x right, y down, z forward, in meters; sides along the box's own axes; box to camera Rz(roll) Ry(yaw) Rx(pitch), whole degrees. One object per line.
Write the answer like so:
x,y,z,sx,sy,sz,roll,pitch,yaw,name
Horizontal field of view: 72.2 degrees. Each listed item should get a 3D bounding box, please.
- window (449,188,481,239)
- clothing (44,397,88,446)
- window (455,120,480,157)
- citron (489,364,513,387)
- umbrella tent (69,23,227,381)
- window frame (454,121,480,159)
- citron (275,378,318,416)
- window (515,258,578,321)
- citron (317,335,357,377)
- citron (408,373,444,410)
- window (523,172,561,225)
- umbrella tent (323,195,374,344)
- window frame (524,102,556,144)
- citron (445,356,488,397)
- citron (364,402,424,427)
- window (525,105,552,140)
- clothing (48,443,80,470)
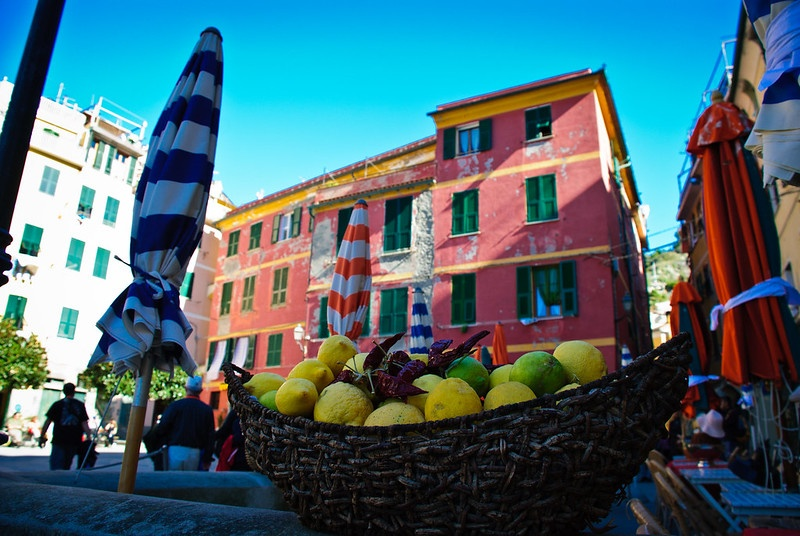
2.243,-1.839,18.529,1.388,2.123,0.159,-13,-30,37,window
-4.602,2.110,7.567,0.480,0.634,0.298,9,-21,-30,clothing
2.437,-4.637,19.517,1.285,1.614,0.115,-8,-23,33,window
0.493,0.539,2.732,0.104,0.138,0.109,6,-14,-18,citron
-1.849,-0.617,4.385,0.731,2.880,0.518,2,-18,-10,umbrella tent
2.426,-4.584,19.501,1.332,1.674,0.121,-7,-23,31,window frame
-0.517,0.602,2.667,0.187,0.150,0.151,4,-49,57,citron
4.461,0.674,16.436,1.538,1.537,0.469,-10,-27,30,window
-0.337,0.481,3.028,0.201,0.240,0.191,25,-27,-25,citron
0.131,0.604,2.666,0.146,0.183,0.151,-15,-42,34,citron
4.540,-2.180,17.351,1.463,2.364,0.196,-6,-16,36,window
-0.711,-0.071,7.544,0.478,2.208,0.700,-5,-18,12,umbrella tent
4.686,-4.844,18.215,1.332,1.846,0.237,-5,-21,29,window frame
0.326,0.490,2.702,0.198,0.164,0.159,21,19,31,citron
-0.016,0.661,2.484,0.160,0.102,0.129,-17,-14,31,citron
4.654,-4.861,18.241,1.148,1.533,0.210,-4,-20,28,window
-4.610,2.583,7.528,0.333,0.323,0.274,9,-21,-30,clothing
